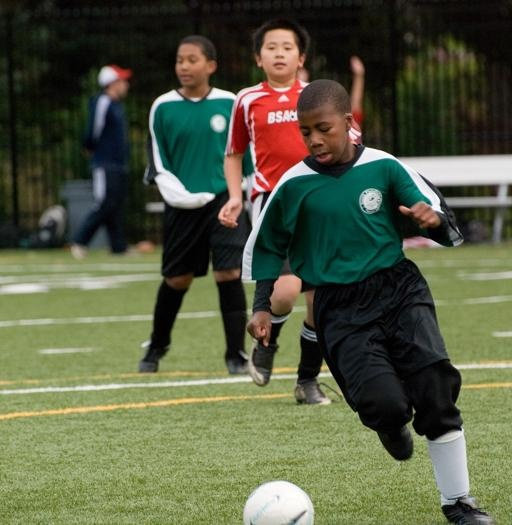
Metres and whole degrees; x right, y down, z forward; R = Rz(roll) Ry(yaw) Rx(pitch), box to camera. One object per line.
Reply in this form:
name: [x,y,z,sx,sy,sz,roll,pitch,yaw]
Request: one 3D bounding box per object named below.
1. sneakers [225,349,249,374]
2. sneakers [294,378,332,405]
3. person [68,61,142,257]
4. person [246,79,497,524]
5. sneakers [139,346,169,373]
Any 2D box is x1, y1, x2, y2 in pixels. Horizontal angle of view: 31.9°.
sneakers: [-0.091,0.524,4.650,0.144,0.136,0.087,-1,4,-1]
sneakers: [0.245,0.576,3.966,0.074,0.086,0.196,-3,2,-37]
person: [-1.386,-0.991,8.366,0.431,1.757,1.145,-1,6,-8]
person: [0.318,0.093,2.736,0.716,1.310,0.516,0,6,1]
sneakers: [-0.521,0.505,4.562,0.058,0.123,0.175,34,15,-3]
